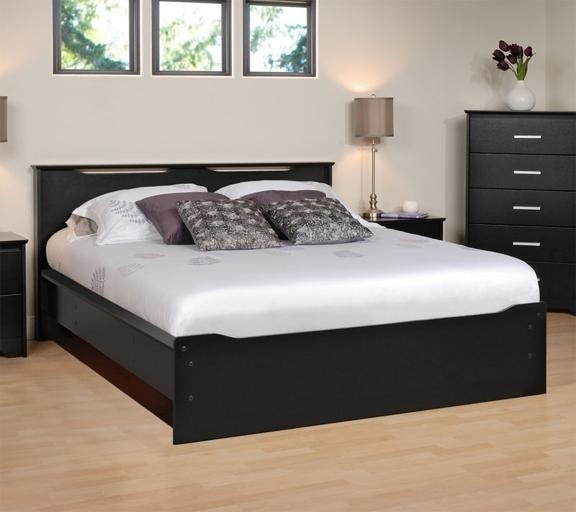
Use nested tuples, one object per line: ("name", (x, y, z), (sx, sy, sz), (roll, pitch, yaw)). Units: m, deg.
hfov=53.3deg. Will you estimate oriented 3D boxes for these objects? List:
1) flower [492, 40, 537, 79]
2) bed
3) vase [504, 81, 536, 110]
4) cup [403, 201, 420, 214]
("flower", (1.863, -1.628, 4.754), (0.330, 0.400, 0.467), (1, 5, 20))
("bed", (-0.426, 0.242, 3.069), (2.079, 0.749, 1.984), (-2, 5, -27))
("vase", (1.856, -1.284, 4.579), (0.209, 0.268, 0.158), (0, 6, 15))
("cup", (0.966, -0.394, 4.606), (0.136, 0.075, 0.119), (-6, 13, -24))
